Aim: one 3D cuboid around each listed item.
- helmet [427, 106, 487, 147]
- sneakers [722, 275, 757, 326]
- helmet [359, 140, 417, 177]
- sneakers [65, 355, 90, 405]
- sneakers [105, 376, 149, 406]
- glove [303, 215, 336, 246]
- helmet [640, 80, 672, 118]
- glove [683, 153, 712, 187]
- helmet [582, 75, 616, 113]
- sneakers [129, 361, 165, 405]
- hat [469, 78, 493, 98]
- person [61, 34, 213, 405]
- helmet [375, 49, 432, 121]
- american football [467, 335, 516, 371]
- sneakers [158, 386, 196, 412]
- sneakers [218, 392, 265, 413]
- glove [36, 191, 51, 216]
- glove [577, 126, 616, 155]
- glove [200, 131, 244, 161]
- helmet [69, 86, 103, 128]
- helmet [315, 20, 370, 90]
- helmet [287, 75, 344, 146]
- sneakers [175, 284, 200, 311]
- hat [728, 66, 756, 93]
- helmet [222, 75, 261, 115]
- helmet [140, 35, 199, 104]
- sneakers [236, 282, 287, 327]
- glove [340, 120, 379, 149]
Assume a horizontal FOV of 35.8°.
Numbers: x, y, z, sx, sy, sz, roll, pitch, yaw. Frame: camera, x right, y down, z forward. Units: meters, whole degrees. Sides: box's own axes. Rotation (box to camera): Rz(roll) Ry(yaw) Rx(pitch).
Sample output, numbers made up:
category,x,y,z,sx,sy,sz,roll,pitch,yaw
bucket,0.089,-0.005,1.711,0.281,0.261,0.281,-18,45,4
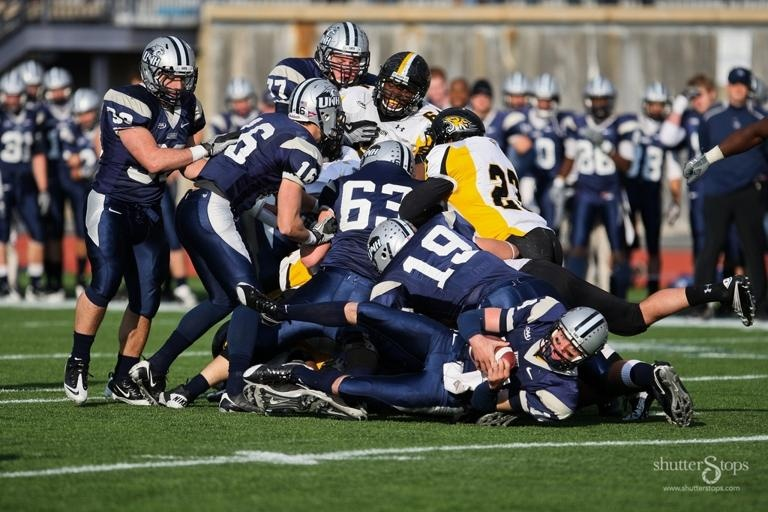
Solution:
category,x,y,z,sx,sy,sz,roll,pitch,yaw
helmet,0.490,-0.964,9.167,0.420,0.336,0.329,4,2,16
sneakers,2.383,0.301,8.027,0.219,0.368,0.235,5,14,17
helmet,0.027,-0.719,8.870,0.329,0.245,0.278,0,-23,-41
sneakers,-2.118,0.885,8.253,0.152,0.334,0.195,-3,14,-15
sneakers,-1.791,0.966,8.440,0.389,0.182,0.141,9,3,12
glove,-0.434,-0.176,8.602,0.234,0.145,0.099,-36,8,-31
helmet,3.000,-1.727,13.062,0.306,0.427,0.416,3,24,18
glove,2.306,-0.632,8.793,0.149,0.233,0.107,36,-4,19
helmet,2.399,-1.796,13.155,0.355,0.450,0.454,0,8,7
sneakers,-1.648,0.894,8.340,0.241,0.295,0.134,-2,14,-12
hat,1.202,-2.078,14.597,0.234,0.220,0.400,3,0,2
person,-1.755,-0.253,8.435,0.643,2.515,1.276,12,18,39
helmet,0.110,-1.377,9.555,0.416,0.456,0.570,22,6,-10
american football,0.636,0.609,7.617,0.305,0.171,0.234,2,23,-22
sneakers,-1.427,1.002,8.286,0.225,0.150,0.116,14,-1,-6
sneakers,-0.983,1.019,8.176,0.324,0.141,0.119,0,-3,6
glove,-4.090,-0.625,14.359,0.084,0.243,0.172,-4,-15,44
glove,2.275,-1.259,12.754,0.336,0.121,0.340,41,7,14
glove,-1.150,-0.802,8.480,0.374,0.101,0.119,-33,32,-21
helmet,-3.691,-1.849,14.605,0.378,0.475,0.482,0,17,-21
helmet,-0.322,-1.692,9.680,0.428,0.449,0.536,-2,9,-23
helmet,-0.472,-1.063,8.531,0.458,0.430,0.353,3,11,-27
sneakers,-2.270,0.497,13.779,0.238,0.120,0.168,49,25,13
hat,3.446,-1.706,11.484,0.291,0.216,0.478,5,11,3
helmet,-1.756,-2.013,14.381,0.446,0.602,0.537,-5,-10,1
helmet,-1.537,-1.381,8.595,0.387,0.432,0.524,-6,30,-35
sneakers,-0.896,0.321,8.027,0.451,0.167,0.189,32,-18,-21
glove,-0.167,-0.998,9.636,0.265,0.250,0.206,16,10,13
